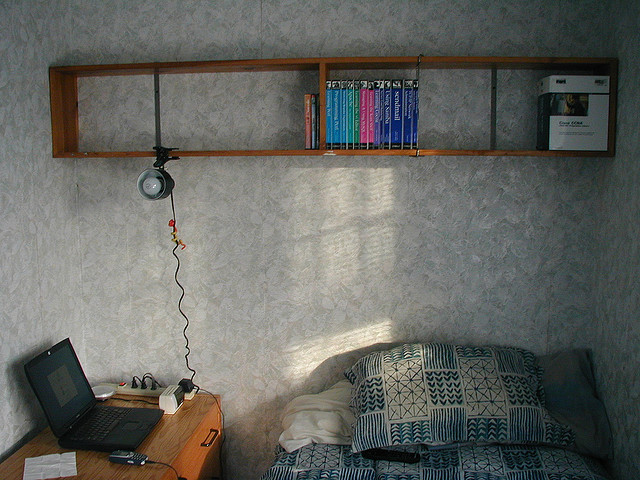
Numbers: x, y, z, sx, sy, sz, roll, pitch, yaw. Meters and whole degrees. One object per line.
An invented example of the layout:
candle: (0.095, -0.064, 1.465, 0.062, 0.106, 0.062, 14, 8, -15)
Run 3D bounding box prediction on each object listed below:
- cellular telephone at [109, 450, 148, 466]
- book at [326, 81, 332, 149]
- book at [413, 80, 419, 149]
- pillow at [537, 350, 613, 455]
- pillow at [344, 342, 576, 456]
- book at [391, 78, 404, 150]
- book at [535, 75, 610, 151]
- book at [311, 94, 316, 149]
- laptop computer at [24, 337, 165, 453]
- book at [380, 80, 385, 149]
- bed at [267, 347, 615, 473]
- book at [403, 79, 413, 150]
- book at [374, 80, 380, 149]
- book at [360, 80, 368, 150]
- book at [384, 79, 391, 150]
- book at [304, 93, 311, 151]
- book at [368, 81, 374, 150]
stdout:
cellular telephone: (-0.933, 1.050, 2.793, 0.160, 0.042, 0.073, 6, 2, 4)
book: (0.046, -0.654, 3.030, 0.035, 0.340, 0.070, -1, -5, -1)
book: (0.495, -0.648, 3.019, 0.032, 0.338, 0.115, -2, -5, 9)
pillow: (1.340, 0.825, 2.955, 0.382, 0.415, 0.098, -3, -13, 5)
pillow: (0.696, 0.764, 2.909, 0.911, 0.575, 0.226, 0, -39, 5)
book: (0.399, -0.662, 3.004, 0.093, 0.271, 0.250, 0, 25, 6)
book: (1.368, -0.704, 3.152, 0.401, 0.346, 0.402, -5, 13, -10)
book: (-0.037, -0.629, 3.083, 0.028, 0.274, 0.060, -1, -5, -2)
laptop computer: (-1.151, 0.796, 3.016, 0.602, 0.411, 0.453, 4, 8, 7)
book: (0.325, -0.650, 3.009, 0.027, 0.336, 0.076, -2, -5, 6)
bed: (0.646, 0.902, 3.007, 1.430, 0.350, 0.786, -2, 9, 3)
book: (0.455, -0.648, 3.004, 0.049, 0.340, 0.081, -1, -5, 0)
book: (0.295, -0.650, 3.014, 0.032, 0.335, 0.072, -2, -5, 3)
book: (0.227, -0.650, 3.019, 0.048, 0.341, 0.071, -2, -5, 3)
book: (0.351, -0.649, 3.008, 0.033, 0.340, 0.078, -1, -5, -2)
book: (-0.066, -0.628, 3.078, 0.026, 0.274, 0.058, -1, -5, -1)
book: (0.264, -0.651, 3.016, 0.031, 0.338, 0.069, -1, -5, -2)
